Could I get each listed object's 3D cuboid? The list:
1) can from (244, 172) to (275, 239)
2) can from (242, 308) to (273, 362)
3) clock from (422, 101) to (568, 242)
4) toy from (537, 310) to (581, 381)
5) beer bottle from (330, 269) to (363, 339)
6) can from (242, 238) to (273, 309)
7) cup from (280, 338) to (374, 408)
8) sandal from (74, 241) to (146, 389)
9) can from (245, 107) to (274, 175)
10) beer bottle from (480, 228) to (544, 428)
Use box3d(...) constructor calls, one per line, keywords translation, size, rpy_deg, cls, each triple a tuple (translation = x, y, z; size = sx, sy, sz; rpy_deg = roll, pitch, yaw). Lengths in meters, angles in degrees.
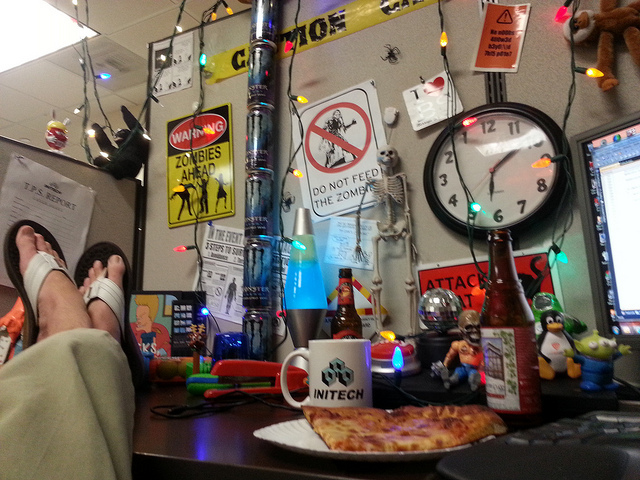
box3d(translation=(-0.167, -0.092, 1.297), size=(0.081, 0.182, 0.050), rpy_deg=(-3, -11, -10), cls="can")
box3d(translation=(-0.157, 0.243, 1.229), size=(0.076, 0.136, 0.051), rpy_deg=(3, 1, 43), cls="can")
box3d(translation=(0.402, -0.152, 1.069), size=(0.293, 0.282, 0.041), rpy_deg=(-10, -14, 25), cls="clock")
box3d(translation=(0.420, 0.175, 0.883), size=(0.080, 0.144, 0.073), rpy_deg=(2, -4, -32), cls="toy")
box3d(translation=(0.061, 0.169, 1.071), size=(0.084, 0.214, 0.084), rpy_deg=(-2, 3, 0), cls="beer bottle")
box3d(translation=(-0.159, 0.102, 1.305), size=(0.104, 0.252, 0.103), rpy_deg=(1, -3, 0), cls="can")
box3d(translation=(0.008, 0.241, 0.809), size=(0.156, 0.134, 0.098), rpy_deg=(0, -18, -2), cls="cup")
box3d(translation=(-0.521, 0.165, 1.172), size=(0.147, 0.387, 0.271), rpy_deg=(1, -12, -27), cls="sandal")
box3d(translation=(-0.167, -0.272, 1.313), size=(0.079, 0.187, 0.040), rpy_deg=(-3, -11, -7), cls="can")
box3d(translation=(0.278, 0.129, 0.708), size=(0.074, 0.281, 0.073), rpy_deg=(-7, 4, 0), cls="beer bottle")
